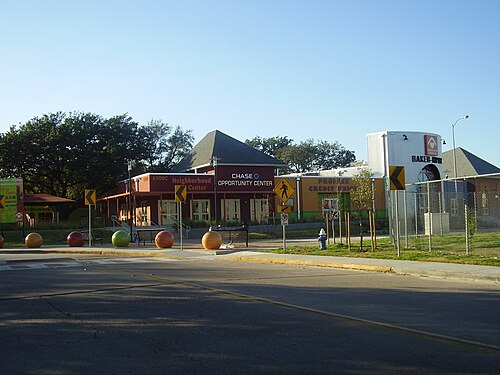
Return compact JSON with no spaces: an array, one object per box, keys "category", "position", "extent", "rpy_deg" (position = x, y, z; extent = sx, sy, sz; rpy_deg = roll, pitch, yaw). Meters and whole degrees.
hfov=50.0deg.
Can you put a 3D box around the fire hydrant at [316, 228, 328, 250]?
[{"category":"fire hydrant","position":[3.316,2.367,24.567],"extent":[0.300,0.911,1.110],"rpy_deg":[-1,-2,9]}]
